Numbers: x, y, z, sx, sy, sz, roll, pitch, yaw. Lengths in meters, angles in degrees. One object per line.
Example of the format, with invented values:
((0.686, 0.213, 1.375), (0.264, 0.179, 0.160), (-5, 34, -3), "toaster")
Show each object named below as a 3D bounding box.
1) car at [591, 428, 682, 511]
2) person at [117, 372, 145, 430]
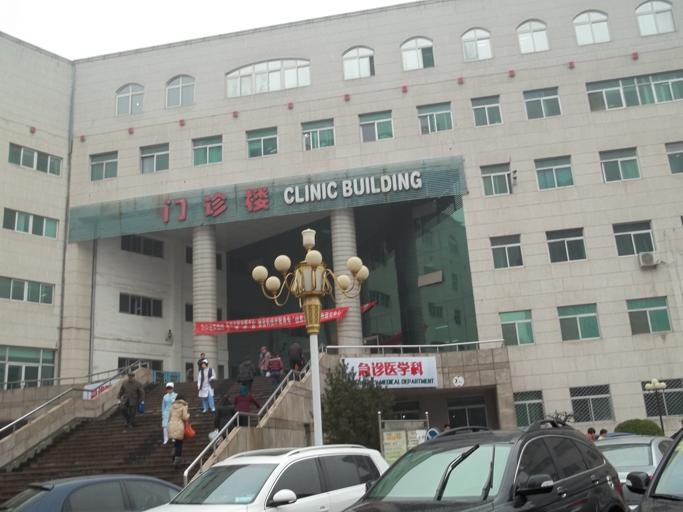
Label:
((6.894, 4.864, 17.047), (1.596, 1.138, 3.398), (-8, -20, 12), "car")
((-7.949, 5.477, 27.879), (0.836, 2.062, 0.977), (1, -13, -17), "person")
